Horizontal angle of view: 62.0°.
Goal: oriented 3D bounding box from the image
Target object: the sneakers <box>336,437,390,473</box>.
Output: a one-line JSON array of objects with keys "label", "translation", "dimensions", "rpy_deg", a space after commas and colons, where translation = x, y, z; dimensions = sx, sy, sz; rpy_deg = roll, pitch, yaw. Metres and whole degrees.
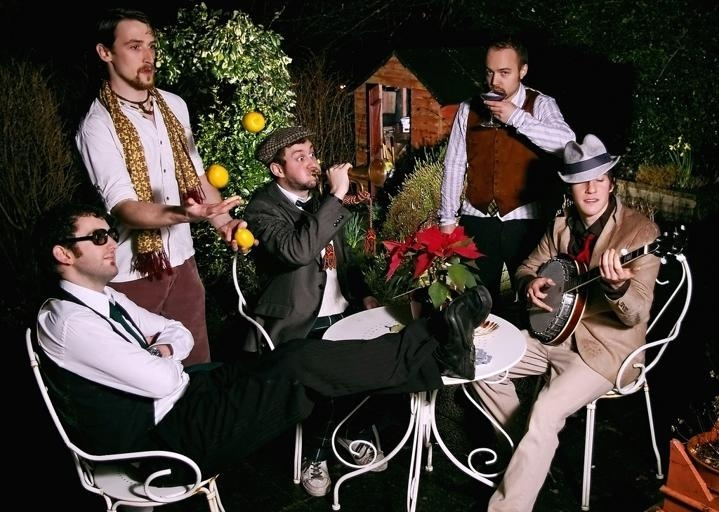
[{"label": "sneakers", "translation": [0.013, 1.189, 3.547], "dimensions": [0.342, 0.170, 0.226], "rpy_deg": [-3, 17, -24]}]

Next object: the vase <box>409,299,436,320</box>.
[{"label": "vase", "translation": [0.312, 0.264, 3.007], "dimensions": [0.098, 0.103, 0.089], "rpy_deg": [-3, 1, 9]}]

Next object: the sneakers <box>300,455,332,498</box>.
[{"label": "sneakers", "translation": [-0.261, 1.279, 3.516], "dimensions": [0.152, 0.159, 0.367], "rpy_deg": [10, -4, -7]}]

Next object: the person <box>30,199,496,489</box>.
[{"label": "person", "translation": [-0.425, 0.310, 2.900], "dimensions": [1.990, 1.300, 0.771], "rpy_deg": [-4, 20, -8]}]

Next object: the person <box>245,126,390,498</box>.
[{"label": "person", "translation": [-0.241, 0.288, 3.600], "dimensions": [0.816, 2.135, 1.098], "rpy_deg": [-4, 11, -5]}]

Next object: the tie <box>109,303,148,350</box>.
[{"label": "tie", "translation": [-1.109, 0.327, 2.856], "dimensions": [0.210, 0.052, 0.155], "rpy_deg": [46, -13, -24]}]

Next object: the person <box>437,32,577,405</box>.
[{"label": "person", "translation": [0.950, -0.392, 4.160], "dimensions": [0.635, 2.118, 0.682], "rpy_deg": [8, 22, 14]}]

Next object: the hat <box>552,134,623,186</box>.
[{"label": "hat", "translation": [1.285, -0.565, 3.392], "dimensions": [0.391, 0.232, 0.526], "rpy_deg": [-12, 6, 39]}]

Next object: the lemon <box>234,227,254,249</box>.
[{"label": "lemon", "translation": [-0.598, -0.086, 3.133], "dimensions": [0.082, 0.112, 0.084], "rpy_deg": [-24, -4, -39]}]

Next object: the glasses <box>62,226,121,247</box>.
[{"label": "glasses", "translation": [-1.201, -0.087, 2.681], "dimensions": [0.079, 0.073, 0.243], "rpy_deg": [18, 20, 41]}]

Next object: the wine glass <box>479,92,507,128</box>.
[{"label": "wine glass", "translation": [0.844, -0.929, 3.813], "dimensions": [0.137, 0.227, 0.368], "rpy_deg": [7, 15, 12]}]

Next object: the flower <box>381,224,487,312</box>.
[{"label": "flower", "translation": [0.391, 0.075, 3.000], "dimensions": [0.473, 0.343, 0.437], "rpy_deg": [-3, 11, -38]}]

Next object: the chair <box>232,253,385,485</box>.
[{"label": "chair", "translation": [-0.241, 0.857, 3.501], "dimensions": [0.592, 1.777, 0.799], "rpy_deg": [6, 10, 36]}]
